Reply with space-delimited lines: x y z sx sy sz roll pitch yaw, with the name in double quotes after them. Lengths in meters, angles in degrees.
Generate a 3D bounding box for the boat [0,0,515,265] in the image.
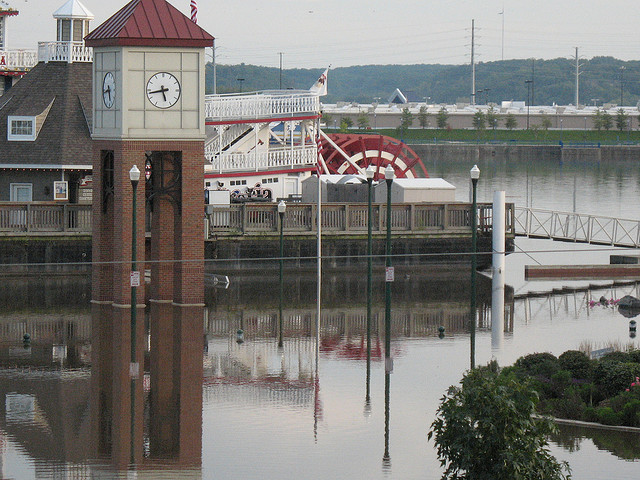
-4.405 -2.632 81.044 16.036 7.141 15.773 0 0 -30 "boat"

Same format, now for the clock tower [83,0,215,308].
-6.246 -3.190 68.501 4.137 11.261 2.548 0 -1 -5 "clock tower"

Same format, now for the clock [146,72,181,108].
-5.727 -5.438 68.066 1.296 1.401 0.194 0 -1 -16 "clock"
